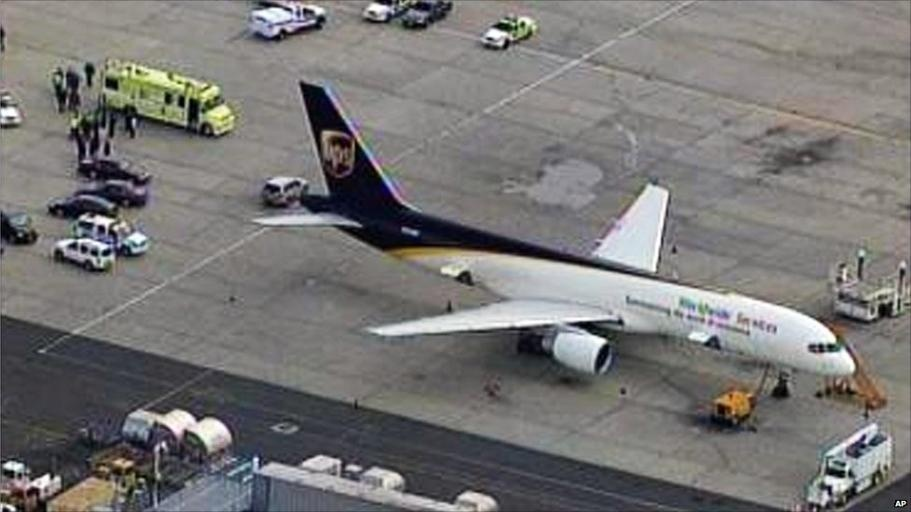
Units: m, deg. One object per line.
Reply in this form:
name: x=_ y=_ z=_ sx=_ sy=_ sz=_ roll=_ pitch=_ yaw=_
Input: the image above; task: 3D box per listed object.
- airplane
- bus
airplane: x=7.899 y=1.670 z=150.189 sx=50.188 sy=14.524 sz=16.323 roll=15 pitch=38 yaw=5
bus: x=-28.324 y=-15.762 z=173.755 sx=16.862 sy=5.677 sz=5.331 roll=15 pitch=51 yaw=5
